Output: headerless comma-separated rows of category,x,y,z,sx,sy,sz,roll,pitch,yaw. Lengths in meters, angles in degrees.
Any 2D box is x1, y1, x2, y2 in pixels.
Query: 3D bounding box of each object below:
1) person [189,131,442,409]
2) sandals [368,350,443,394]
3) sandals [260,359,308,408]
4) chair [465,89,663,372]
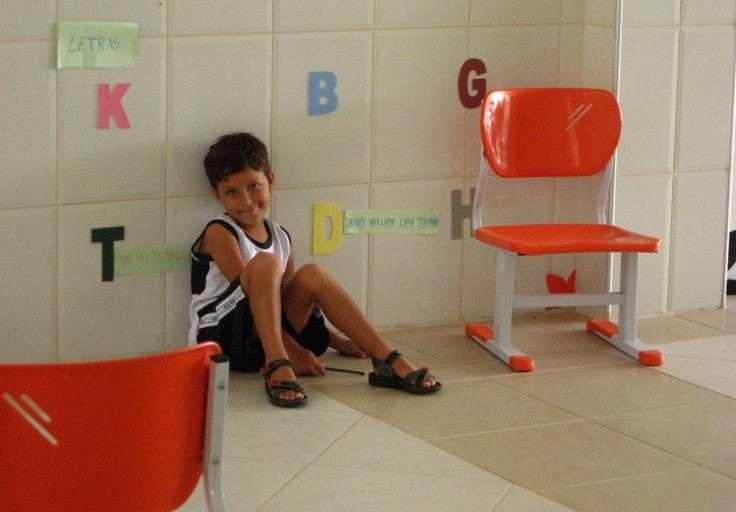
person,-0.235,0.019,2.577,0.725,0.915,0.942,-6,6,-44
sandals,0.132,0.406,2.510,0.247,0.120,0.120,2,4,17
sandals,-0.298,0.411,2.391,0.120,0.127,0.290,3,5,-32
chair,0.764,-0.140,2.725,0.641,1.029,0.640,-1,8,2
